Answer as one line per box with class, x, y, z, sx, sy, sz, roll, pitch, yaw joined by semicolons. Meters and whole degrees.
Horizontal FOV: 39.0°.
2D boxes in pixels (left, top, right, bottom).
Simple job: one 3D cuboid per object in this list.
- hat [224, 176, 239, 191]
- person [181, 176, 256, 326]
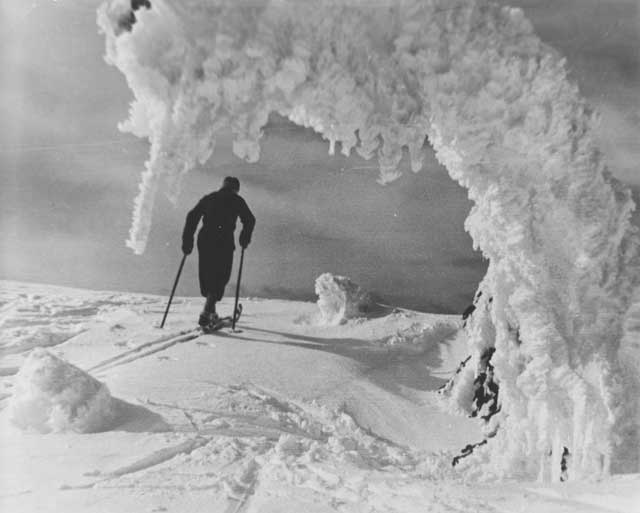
hat;-0.769;-0.619;7.875;0.161;0.119;0.110;11;-8;-18
person;-0.930;-0.019;7.947;0.598;1.323;0.514;10;-8;-7
